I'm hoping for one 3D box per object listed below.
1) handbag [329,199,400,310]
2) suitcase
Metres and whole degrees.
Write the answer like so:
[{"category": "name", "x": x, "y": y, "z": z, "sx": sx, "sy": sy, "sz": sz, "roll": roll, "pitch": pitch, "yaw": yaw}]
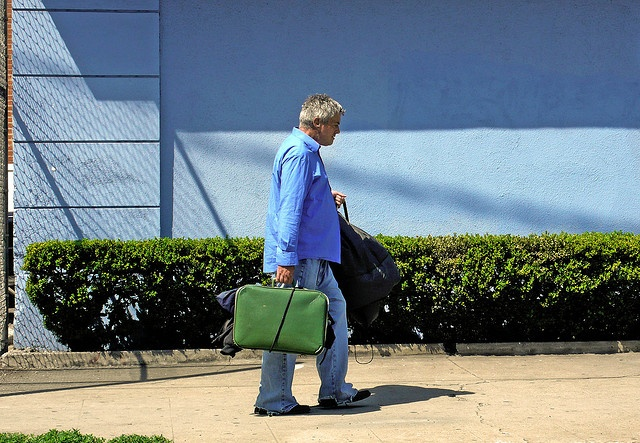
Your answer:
[{"category": "handbag", "x": 0.419, "y": 0.365, "z": 11.863, "sx": 0.740, "sy": 1.087, "sz": 0.560, "roll": -24, "pitch": -3, "yaw": -28}, {"category": "suitcase", "x": -0.393, "y": 1.003, "z": 11.176, "sx": 0.802, "sy": 0.637, "sz": 0.288, "roll": 4, "pitch": 1, "yaw": 4}]
